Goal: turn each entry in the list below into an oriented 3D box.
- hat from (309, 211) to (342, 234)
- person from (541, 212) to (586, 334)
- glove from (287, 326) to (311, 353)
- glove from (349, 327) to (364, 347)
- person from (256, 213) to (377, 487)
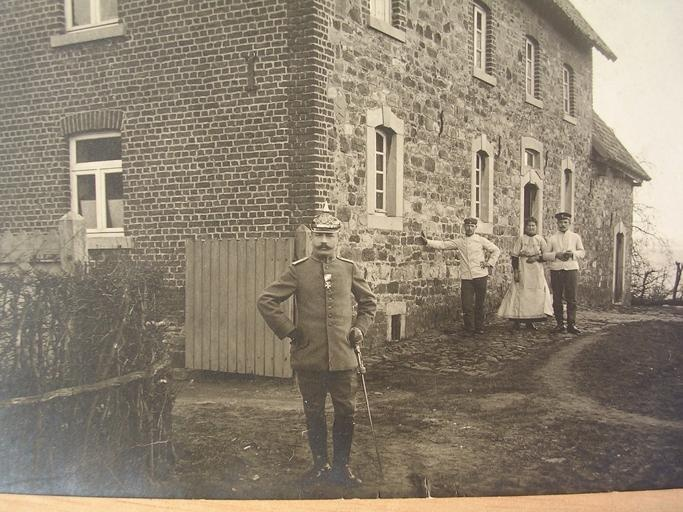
[{"bbox_3d":[-0.207,-0.377,8.415,0.316,0.269,0.498,1,1,-1],"label":"hat"},{"bbox_3d":[4.069,0.263,13.560,0.551,2.114,1.062,0,0,-1],"label":"person"},{"bbox_3d":[-0.430,0.858,7.924,0.252,0.404,0.207,0,-5,-2],"label":"glove"},{"bbox_3d":[0.157,0.834,7.902,0.125,0.173,0.173,-3,1,-2],"label":"glove"},{"bbox_3d":[-0.201,0.958,7.908,1.097,2.944,0.449,0,0,5],"label":"person"}]
